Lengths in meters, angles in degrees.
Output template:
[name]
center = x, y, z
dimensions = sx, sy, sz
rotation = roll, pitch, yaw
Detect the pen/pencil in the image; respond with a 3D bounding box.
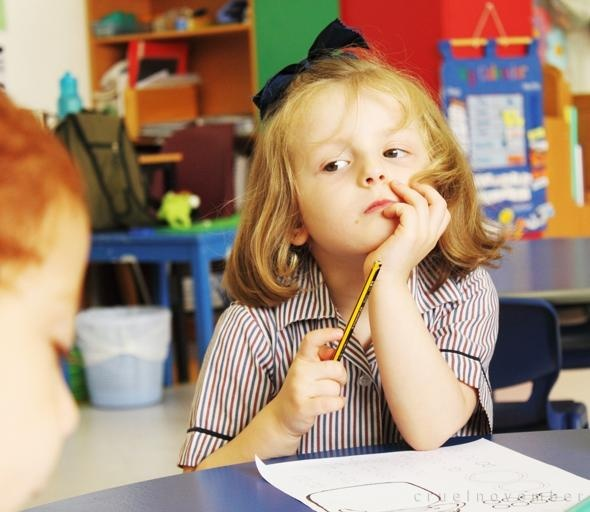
[pen/pencil]
center = 0.078, 0.069, 0.828
dimensions = 0.013, 0.141, 0.014
rotation = 31, 20, 25

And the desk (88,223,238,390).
[desk]
center = -0.534, 0.170, 3.247
dimensions = 0.580, 0.907, 0.585
rotation = 2, -6, -36
